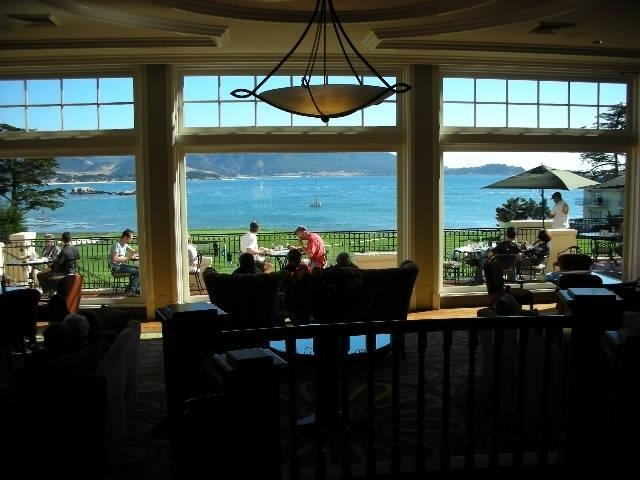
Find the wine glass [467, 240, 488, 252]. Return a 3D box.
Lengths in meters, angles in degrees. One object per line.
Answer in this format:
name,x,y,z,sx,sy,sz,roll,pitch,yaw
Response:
wine glass,2.847,0.117,9.539,0.279,0.071,0.266,6,12,34

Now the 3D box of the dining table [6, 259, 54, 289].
dining table,-5.540,0.602,9.911,1.074,0.473,0.909,1,2,2

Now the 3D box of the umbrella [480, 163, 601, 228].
umbrella,4.544,-0.903,10.810,1.970,0.927,1.669,-1,1,7

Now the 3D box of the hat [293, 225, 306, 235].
hat,-0.353,-0.153,8.378,0.227,0.128,0.144,7,10,6

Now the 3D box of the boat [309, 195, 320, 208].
boat,-0.292,-2.915,41.260,1.113,0.911,0.943,-1,12,-3

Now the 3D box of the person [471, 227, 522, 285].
person,2.964,0.272,8.654,0.649,0.957,1.238,1,4,8

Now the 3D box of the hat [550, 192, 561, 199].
hat,4.688,-0.878,10.491,0.213,0.159,0.158,-1,2,24

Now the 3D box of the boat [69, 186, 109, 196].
boat,-16.033,-3.389,36.606,2.228,0.492,2.170,-1,4,-16
